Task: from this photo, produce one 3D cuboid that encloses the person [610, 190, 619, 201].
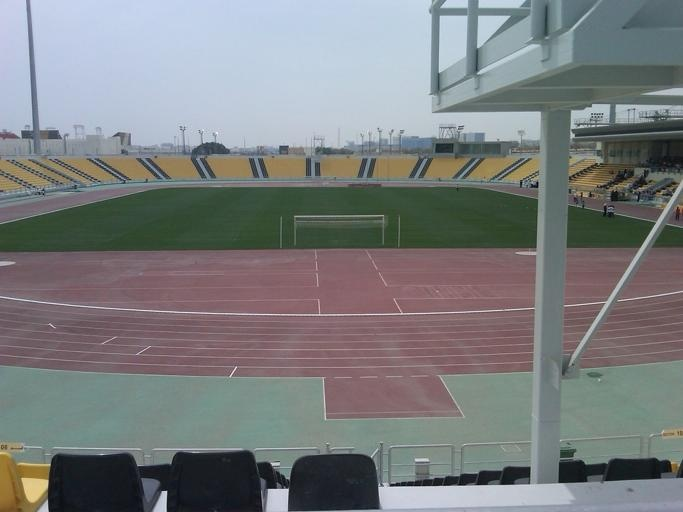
[{"bbox_3d":[19.688,-4.277,58.460,0.583,0.733,0.877,4,14,16],"label":"person"}]
